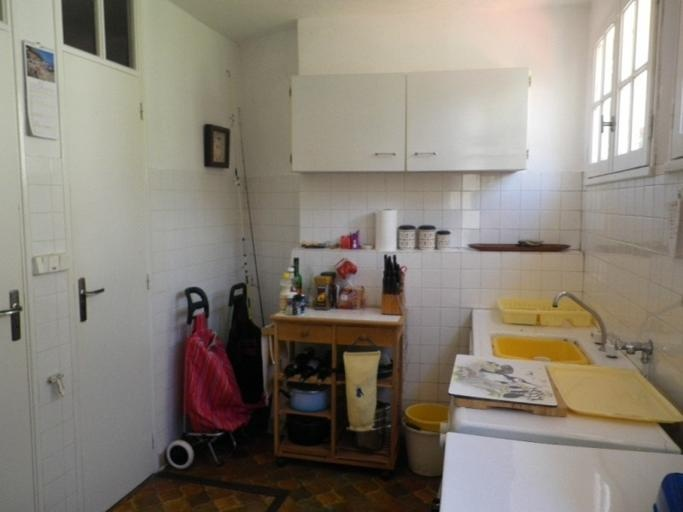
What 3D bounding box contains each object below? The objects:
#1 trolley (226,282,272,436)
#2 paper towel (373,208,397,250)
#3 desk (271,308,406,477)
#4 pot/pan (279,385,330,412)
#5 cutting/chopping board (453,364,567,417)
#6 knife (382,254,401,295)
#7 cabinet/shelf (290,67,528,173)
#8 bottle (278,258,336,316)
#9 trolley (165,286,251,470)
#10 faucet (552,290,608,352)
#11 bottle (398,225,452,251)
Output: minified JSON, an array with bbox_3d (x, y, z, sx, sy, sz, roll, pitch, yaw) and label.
[{"bbox_3d":[-0.726,0.735,3.982,0.264,1.006,0.251,1,21,1],"label":"trolley"},{"bbox_3d":[0.349,-0.199,3.815,0.171,0.306,0.143,0,11,0],"label":"paper towel"},{"bbox_3d":[-0.047,0.912,3.638,0.969,1.071,0.599,2,12,10],"label":"desk"},{"bbox_3d":[-0.237,0.988,3.546,0.261,0.106,0.167,-1,-2,17],"label":"pot/pan"},{"bbox_3d":[0.765,0.600,2.405,0.494,0.073,0.503,2,12,11],"label":"cutting/chopping board"},{"bbox_3d":[0.372,0.115,3.607,0.127,0.262,0.236,1,12,6],"label":"knife"},{"bbox_3d":[0.488,-0.967,3.817,1.668,0.727,0.533,1,2,7],"label":"cabinet/shelf"},{"bbox_3d":[-0.236,0.208,3.722,0.400,0.431,0.393,0,-1,3],"label":"bottle"},{"bbox_3d":[-0.958,0.857,3.580,0.464,1.209,0.550,3,12,16],"label":"trolley"},{"bbox_3d":[1.376,0.372,2.894,0.282,0.387,0.080,-2,23,27],"label":"faucet"},{"bbox_3d":[0.630,-0.146,3.811,0.403,0.183,0.103,1,11,7],"label":"bottle"}]
